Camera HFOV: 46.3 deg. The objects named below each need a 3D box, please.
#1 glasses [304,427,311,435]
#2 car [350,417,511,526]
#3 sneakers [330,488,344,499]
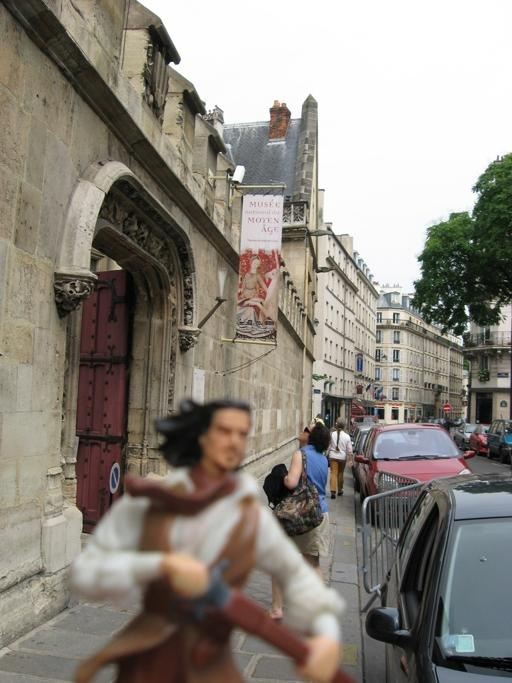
[{"bbox_3d":[0.454,0.777,5.201,0.038,0.049,0.044,-7,32,-13],"label":"glasses"},{"bbox_3d":[2.401,1.797,9.076,1.681,1.323,2.755,-3,-21,-2],"label":"car"},{"bbox_3d":[1.691,3.208,12.534,0.143,0.196,0.472,-3,-15,12],"label":"sneakers"}]
